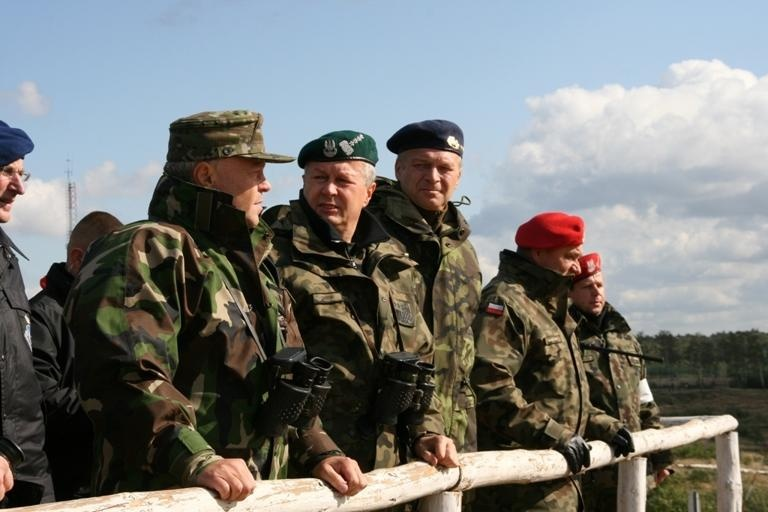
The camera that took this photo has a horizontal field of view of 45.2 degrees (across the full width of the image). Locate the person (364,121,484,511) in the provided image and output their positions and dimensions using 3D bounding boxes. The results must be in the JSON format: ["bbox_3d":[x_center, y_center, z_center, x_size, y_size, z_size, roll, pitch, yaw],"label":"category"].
[{"bbox_3d":[0.414,0.415,7.436,1.076,2.967,1.018,-1,-5,18],"label":"person"}]

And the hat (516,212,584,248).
[{"bbox_3d":[1.509,-0.256,8.250,0.676,0.231,0.513,-3,12,8],"label":"hat"}]

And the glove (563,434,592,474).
[{"bbox_3d":[1.493,1.492,6.960,0.122,0.277,0.293,-8,-10,39],"label":"glove"}]

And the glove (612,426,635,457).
[{"bbox_3d":[1.967,1.518,7.493,0.066,0.221,0.176,-3,28,46],"label":"glove"}]

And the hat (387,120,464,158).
[{"bbox_3d":[0.397,-0.967,7.871,0.745,0.287,0.827,1,1,-39],"label":"hat"}]
